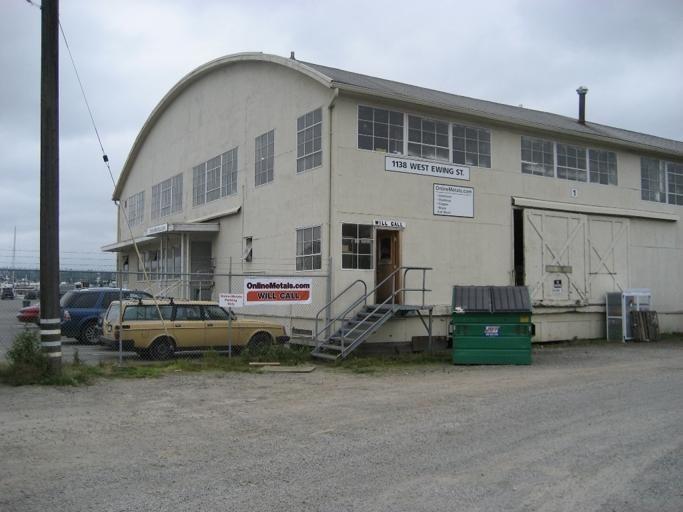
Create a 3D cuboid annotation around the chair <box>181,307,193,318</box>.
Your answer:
[{"bbox_3d":[-4.120,1.524,16.439,0.458,0.282,0.277,11,-10,-27],"label":"chair"}]
